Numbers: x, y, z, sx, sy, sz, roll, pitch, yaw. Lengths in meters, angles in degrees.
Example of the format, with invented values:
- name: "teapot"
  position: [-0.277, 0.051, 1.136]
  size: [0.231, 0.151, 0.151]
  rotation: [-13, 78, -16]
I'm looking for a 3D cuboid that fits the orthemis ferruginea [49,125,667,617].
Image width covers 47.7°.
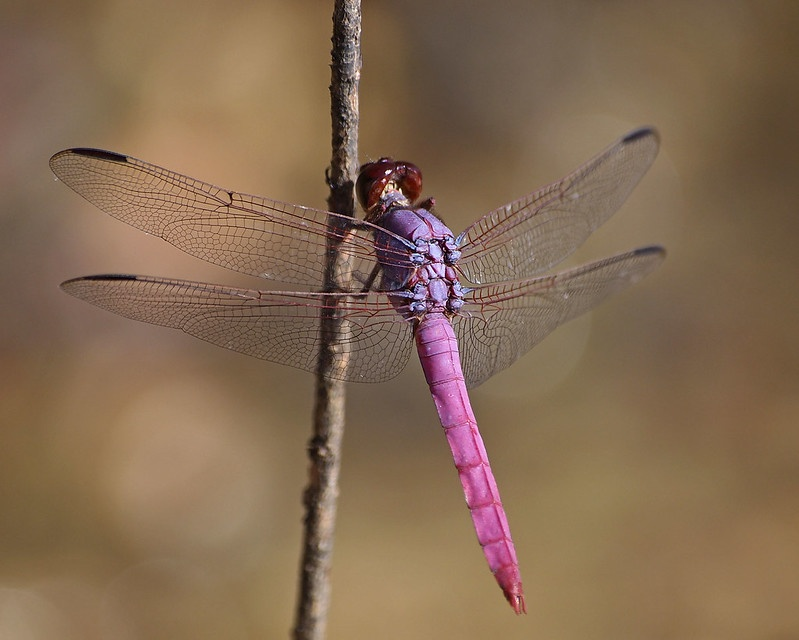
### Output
- name: "orthemis ferruginea"
  position: [0.080, 0.034, 1.679]
  size: [1.281, 0.924, 0.539]
  rotation: [-5, -59, -19]
